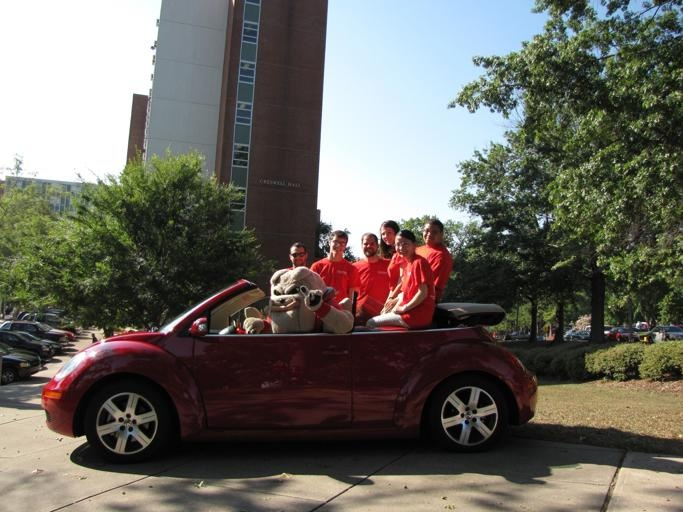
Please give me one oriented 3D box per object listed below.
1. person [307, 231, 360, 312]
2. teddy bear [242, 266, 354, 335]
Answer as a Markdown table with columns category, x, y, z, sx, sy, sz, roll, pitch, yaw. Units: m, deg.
| category | x | y | z | sx | sy | sz | roll | pitch | yaw |
| --- | --- | --- | --- | --- | --- | --- | --- | --- | --- |
| person | -0.127 | 0.390 | 7.443 | 0.748 | 1.410 | 0.394 | 10 | -33 | -10 |
| teddy bear | -0.518 | 0.594 | 5.358 | 1.126 | 1.033 | 0.649 | -13 | -21 | 23 |
